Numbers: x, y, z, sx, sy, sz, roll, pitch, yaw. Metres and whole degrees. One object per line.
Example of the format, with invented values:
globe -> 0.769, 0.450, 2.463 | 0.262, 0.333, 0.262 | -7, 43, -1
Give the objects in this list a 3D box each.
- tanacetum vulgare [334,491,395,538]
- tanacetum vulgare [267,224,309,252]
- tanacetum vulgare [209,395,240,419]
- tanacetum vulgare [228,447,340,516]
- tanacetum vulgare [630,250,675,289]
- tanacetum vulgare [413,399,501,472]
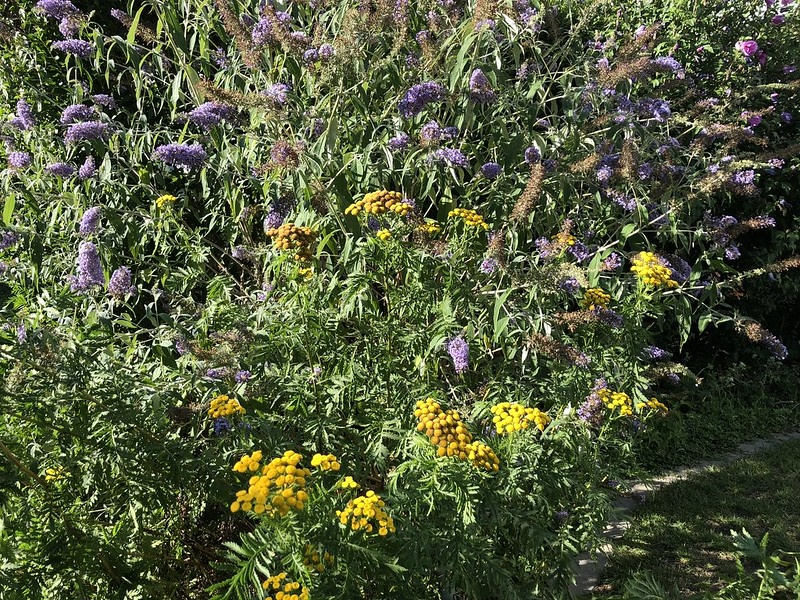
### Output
tanacetum vulgare -> -0.141, 0.909, 3.259 | 0.175, 0.121, 0.236 | 25, -6, -16
tanacetum vulgare -> -0.538, -0.287, 3.830 | 0.140, 0.093, 0.152 | -1, -14, 11
tanacetum vulgare -> -0.812, 0.493, 3.553 | 0.155, 0.099, 0.215 | -10, -2, -16
tanacetum vulgare -> -0.506, 0.762, 3.234 | 0.371, 0.107, 0.273 | -8, 34, -22
tanacetum vulgare -> 1.379, -0.152, 4.184 | 0.209, 0.201, 0.362 | -10, -1, 18
tanacetum vulgare -> 0.249, 0.610, 3.479 | 0.237, 0.168, 0.415 | -22, 48, -26
